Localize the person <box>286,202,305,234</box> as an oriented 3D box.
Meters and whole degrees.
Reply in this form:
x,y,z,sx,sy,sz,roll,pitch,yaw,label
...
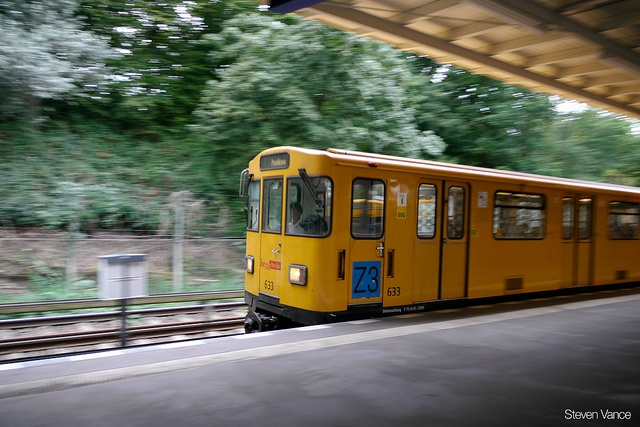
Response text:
x,y,z,sx,sy,sz,roll,pitch,yaw,label
-0.510,0.078,9.747,0.197,0.652,0.567,-7,18,-35,person
